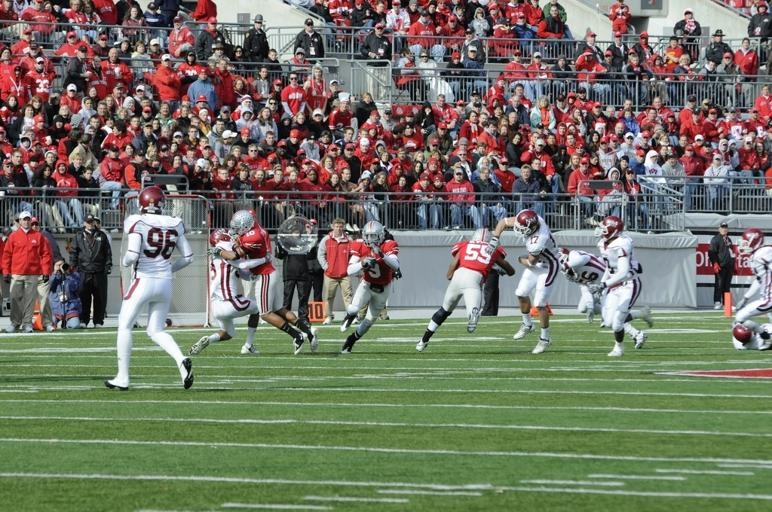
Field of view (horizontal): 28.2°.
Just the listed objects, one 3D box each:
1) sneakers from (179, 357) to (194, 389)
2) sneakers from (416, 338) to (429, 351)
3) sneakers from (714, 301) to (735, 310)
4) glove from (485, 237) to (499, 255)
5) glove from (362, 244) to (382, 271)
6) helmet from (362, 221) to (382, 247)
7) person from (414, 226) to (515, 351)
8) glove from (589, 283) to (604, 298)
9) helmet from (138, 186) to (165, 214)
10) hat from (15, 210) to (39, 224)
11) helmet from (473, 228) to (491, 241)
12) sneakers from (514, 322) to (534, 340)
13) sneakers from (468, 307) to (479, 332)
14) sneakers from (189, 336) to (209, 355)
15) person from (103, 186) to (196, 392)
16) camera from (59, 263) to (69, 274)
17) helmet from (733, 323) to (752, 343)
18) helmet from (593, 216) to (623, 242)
[{"bbox_3d":[-2.721,1.575,20.929,0.169,0.438,0.188,-6,-3,-33],"label":"sneakers"},{"bbox_3d":[0.589,1.449,25.212,0.130,0.158,0.217,4,25,6],"label":"sneakers"},{"bbox_3d":[7.526,1.081,33.885,0.243,0.277,0.667,0,-2,3],"label":"sneakers"},{"bbox_3d":[1.694,-0.185,25.223,0.259,0.245,0.089,10,-10,-36],"label":"glove"},{"bbox_3d":[-0.224,0.026,24.706,0.316,0.405,0.177,3,8,-39],"label":"glove"},{"bbox_3d":[-0.217,-0.358,24.930,0.324,0.310,0.392,-1,-1,7],"label":"helmet"},{"bbox_3d":[1.387,0.589,25.268,1.123,0.784,2.462,12,50,23],"label":"person"},{"bbox_3d":[3.572,0.547,25.574,0.277,0.201,0.126,4,18,-3],"label":"glove"},{"bbox_3d":[-3.300,-0.782,21.490,0.302,0.369,0.381,0,4,-13],"label":"helmet"},{"bbox_3d":[-6.851,-0.738,28.838,0.245,0.183,0.365,4,-16,-24],"label":"hat"},{"bbox_3d":[1.599,-0.342,25.450,0.232,0.263,0.268,4,-1,3],"label":"helmet"},{"bbox_3d":[2.455,1.318,27.033,0.432,0.208,0.145,-36,32,-18],"label":"sneakers"},{"bbox_3d":[1.387,1.024,24.858,0.160,0.453,0.197,9,-19,14],"label":"sneakers"},{"bbox_3d":[-3.063,1.449,24.822,0.340,0.148,0.125,-36,38,8],"label":"sneakers"},{"bbox_3d":[-3.342,0.480,21.284,1.208,2.727,1.356,-1,14,-6],"label":"person"},{"bbox_3d":[-6.155,0.216,29.013,0.170,0.153,0.174,-30,25,-21],"label":"camera"},{"bbox_3d":[5.811,1.248,24.943,0.323,0.269,0.235,15,42,-16],"label":"helmet"},{"bbox_3d":[3.659,-0.448,25.141,0.444,0.380,0.371,2,3,8],"label":"helmet"}]
